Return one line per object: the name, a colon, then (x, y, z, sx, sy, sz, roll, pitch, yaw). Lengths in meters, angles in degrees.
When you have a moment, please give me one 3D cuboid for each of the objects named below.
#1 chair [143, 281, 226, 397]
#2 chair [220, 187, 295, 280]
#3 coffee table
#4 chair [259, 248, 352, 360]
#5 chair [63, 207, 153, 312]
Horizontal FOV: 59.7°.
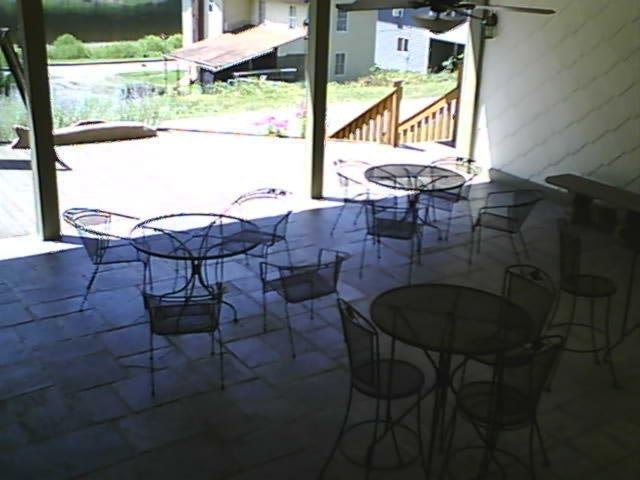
chair: (-1.136, 0.709, 4.644, 0.661, 0.842, 0.836, -6, 29, -13)
chair: (-0.736, -0.062, 6.599, 0.812, 0.958, 0.812, -16, 43, -29)
coffee table: (-1.293, 0.359, 5.885, 1.457, 0.762, 1.219, 6, 26, -1)
chair: (-0.151, 0.641, 5.284, 0.712, 0.859, 0.689, -14, 40, -25)
chair: (-2.301, 0.241, 5.979, 0.870, 0.887, 0.748, -6, 42, -12)
